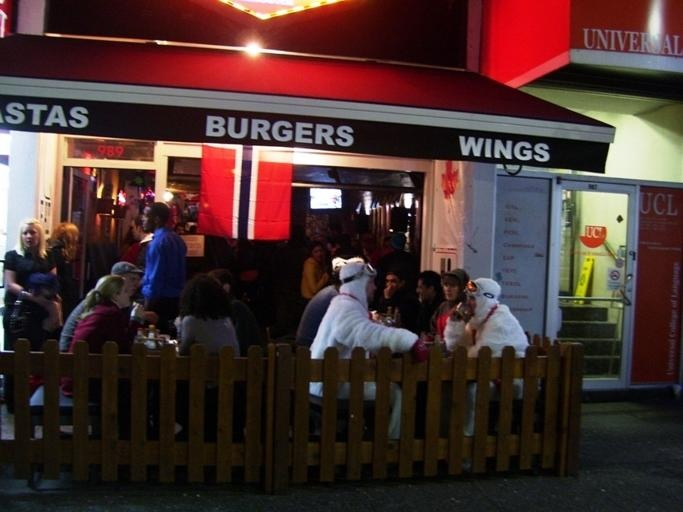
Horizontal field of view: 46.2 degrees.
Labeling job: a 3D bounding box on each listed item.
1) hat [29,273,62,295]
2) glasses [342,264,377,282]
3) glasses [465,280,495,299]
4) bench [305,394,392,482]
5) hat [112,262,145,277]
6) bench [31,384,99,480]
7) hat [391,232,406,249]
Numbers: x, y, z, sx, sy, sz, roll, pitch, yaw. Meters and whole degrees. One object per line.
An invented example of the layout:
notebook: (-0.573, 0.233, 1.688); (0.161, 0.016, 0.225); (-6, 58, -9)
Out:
hat: (-3.345, 0.309, 9.084); (0.256, 0.248, 0.232); (-3, 8, 3)
glasses: (0.177, 0.188, 7.740); (0.235, 0.096, 0.179); (-24, -13, -2)
glasses: (1.393, 0.323, 8.018); (0.217, 0.109, 0.172); (14, -5, -15)
bench: (0.009, 1.630, 7.243); (0.540, 0.934, 0.663); (1, -3, -3)
hat: (-2.282, 0.127, 8.550); (0.270, 0.132, 0.180); (0, 2, -19)
bench: (-2.605, 1.522, 7.599); (0.611, 0.670, 1.339); (1, 1, -19)
hat: (0.773, -0.197, 10.739); (0.155, 0.214, 0.216); (5, 10, 4)
